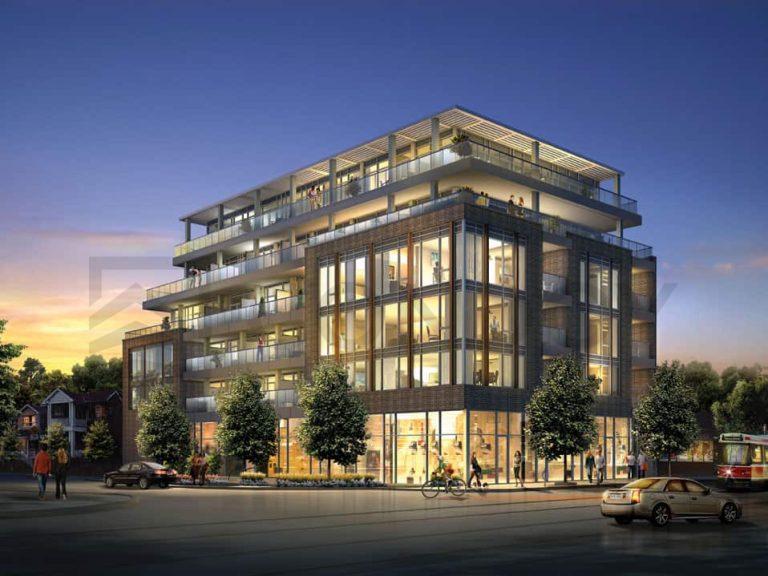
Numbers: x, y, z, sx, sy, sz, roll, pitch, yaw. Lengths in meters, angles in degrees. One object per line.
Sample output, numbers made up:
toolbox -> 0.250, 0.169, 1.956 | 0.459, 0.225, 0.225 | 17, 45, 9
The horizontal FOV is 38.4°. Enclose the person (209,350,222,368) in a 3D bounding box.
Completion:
person -> -12.485, 5.301, 81.801 | 1.050, 1.759, 1.011 | 0, -1, -8

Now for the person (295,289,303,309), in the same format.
person -> -5.677, 0.832, 74.631 | 0.344, 1.069, 0.918 | 7, -15, -35

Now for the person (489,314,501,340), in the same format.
person -> 6.443, 2.247, 64.631 | 0.283, 1.619, 1.009 | -11, -15, 37
